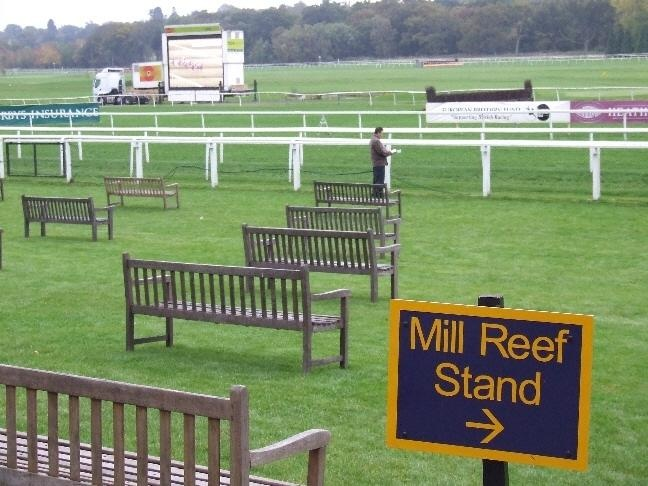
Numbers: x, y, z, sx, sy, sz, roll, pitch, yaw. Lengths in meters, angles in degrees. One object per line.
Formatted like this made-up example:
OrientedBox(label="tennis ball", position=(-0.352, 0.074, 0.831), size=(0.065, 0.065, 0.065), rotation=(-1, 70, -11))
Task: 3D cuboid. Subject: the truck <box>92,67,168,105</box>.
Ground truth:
OrientedBox(label="truck", position=(-9.916, -8.096, 69.594), size=(3.447, 2.052, 5.216), rotation=(-4, 8, -7))
